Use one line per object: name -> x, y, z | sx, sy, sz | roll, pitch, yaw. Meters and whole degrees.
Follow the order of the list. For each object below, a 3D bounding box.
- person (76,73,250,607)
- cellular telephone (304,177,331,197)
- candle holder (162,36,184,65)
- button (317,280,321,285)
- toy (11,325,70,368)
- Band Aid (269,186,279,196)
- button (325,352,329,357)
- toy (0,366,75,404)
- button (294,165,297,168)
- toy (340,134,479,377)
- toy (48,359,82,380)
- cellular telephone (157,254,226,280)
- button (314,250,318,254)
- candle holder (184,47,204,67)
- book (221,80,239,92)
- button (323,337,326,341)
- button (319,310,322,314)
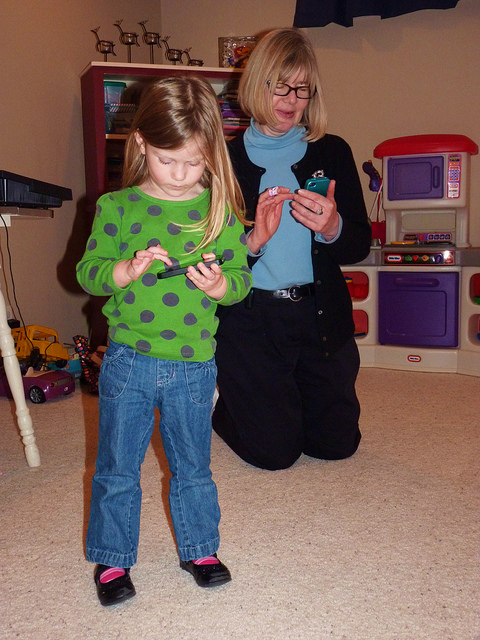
person -> -0.135, 0.049, 0.936 | 0.304, 0.917, 0.295 | 2, 5, -14
cellular telephone -> 0.195, -0.334, 1.305 | 0.059, 0.047, 0.045 | -1, 4, 0
candle holder -> -0.385, -1.570, 3.078 | 0.099, 0.169, 0.079 | -4, 27, 13
button -> 0.227, -0.109, 1.492 | 0.011, 0.011, 0.003 | 1, 5, -5
toy -> -1.002, 0.126, 2.560 | 0.204, 0.227, 0.325 | 2, -3, 41
Band Aid -> 0.082, -0.309, 1.238 | 0.015, 0.006, 0.016 | -19, 43, 8
button -> 0.259, 0.103, 1.547 | 0.011, 0.011, 0.003 | -2, 19, -2
toy -> -0.997, 0.296, 2.499 | 0.282, 0.110, 0.172 | 1, 6, 22
button -> 0.156, -0.427, 1.440 | 0.009, 0.008, 0.004 | -2, 4, -19
toy -> 1.000, -0.387, 2.990 | 0.757, 1.329, 0.518 | 0, 4, 12
toy -> -0.919, 0.255, 2.695 | 0.080, 0.078, 0.131 | 2, 7, 24
cellular telephone -> -0.086, -0.091, 0.884 | 0.126, 0.012, 0.070 | -15, 12, -7
button -> 0.217, -0.193, 1.469 | 0.010, 0.011, 0.003 | -3, 4, -23
candle holder -> -0.282, -1.600, 3.172 | 0.088, 0.085, 0.061 | 15, 39, 23
book -> -0.055, -1.376, 3.040 | 0.107, 0.027, 0.077 | 6, -26, 13
button -> 0.250, 0.054, 1.526 | 0.011, 0.011, 0.002 | -4, 8, -8
button -> 0.234, -0.024, 1.504 | 0.010, 0.010, 0.003 | 5, 6, -20
